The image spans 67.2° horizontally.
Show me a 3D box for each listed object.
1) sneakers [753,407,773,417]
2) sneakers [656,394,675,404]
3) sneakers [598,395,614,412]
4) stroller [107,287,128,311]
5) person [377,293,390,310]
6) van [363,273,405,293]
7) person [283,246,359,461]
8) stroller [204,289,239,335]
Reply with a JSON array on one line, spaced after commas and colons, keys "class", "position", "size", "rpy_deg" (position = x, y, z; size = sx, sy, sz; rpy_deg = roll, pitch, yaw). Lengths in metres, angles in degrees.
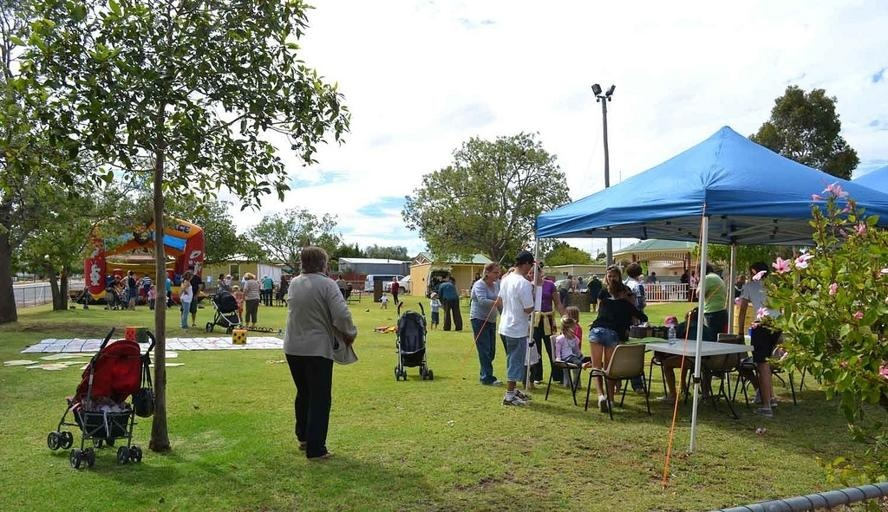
[{"class": "sneakers", "position": [5.853, 2.856, 12.196], "size": [0.144, 0.139, 0.329], "rpy_deg": [1, -1, -33]}, {"class": "sneakers", "position": [4.392, 2.830, 13.159], "size": [0.353, 0.140, 0.119], "rpy_deg": [1, -7, 25]}, {"class": "sneakers", "position": [2.994, 2.720, 12.289], "size": [0.185, 0.381, 0.165], "rpy_deg": [0, 15, 15]}, {"class": "stroller", "position": [-17.270, 2.261, 35.069], "size": [0.938, 1.077, 1.887], "rpy_deg": [2, 0, -22]}, {"class": "person", "position": [-3.733, 2.834, 40.577], "size": [0.594, 0.468, 0.905], "rpy_deg": [8, -24, -3]}, {"class": "van", "position": [-6.008, 2.971, 67.476], "size": [4.073, 1.861, 2.142], "rpy_deg": [-2, 0, -4]}, {"class": "person", "position": [-1.964, 1.476, 10.296], "size": [1.021, 3.179, 0.769], "rpy_deg": [4, 9, 22]}, {"class": "stroller", "position": [-7.707, 2.058, 23.275], "size": [1.020, 1.485, 2.048], "rpy_deg": [-2, 7, -18]}]
